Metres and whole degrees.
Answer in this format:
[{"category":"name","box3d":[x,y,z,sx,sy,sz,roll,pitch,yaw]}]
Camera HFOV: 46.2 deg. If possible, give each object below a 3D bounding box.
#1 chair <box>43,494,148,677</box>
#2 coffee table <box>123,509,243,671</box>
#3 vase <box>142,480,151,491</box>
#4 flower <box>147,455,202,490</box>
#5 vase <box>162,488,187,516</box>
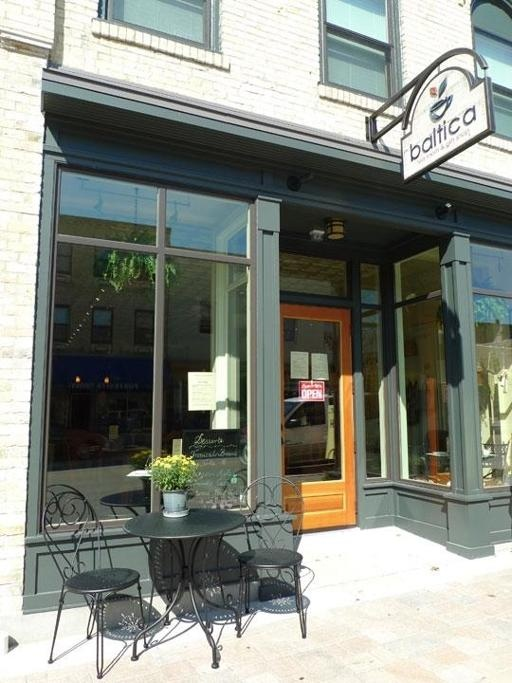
[{"category":"chair","box3d":[-1.048,1.594,3.849,0.678,1.197,0.584,-14,-15,37]},{"category":"coffee table","box3d":[-0.453,1.444,3.862,0.793,0.868,0.759,1,-1,-24]},{"category":"vase","box3d":[-0.806,1.052,4.427,0.074,0.089,0.073,3,-7,-14]},{"category":"flower","box3d":[-0.566,0.872,4.123,0.281,0.193,0.280,2,-9,-10]},{"category":"vase","box3d":[-0.538,1.075,4.064,0.165,0.159,0.167,-1,-4,28]}]
